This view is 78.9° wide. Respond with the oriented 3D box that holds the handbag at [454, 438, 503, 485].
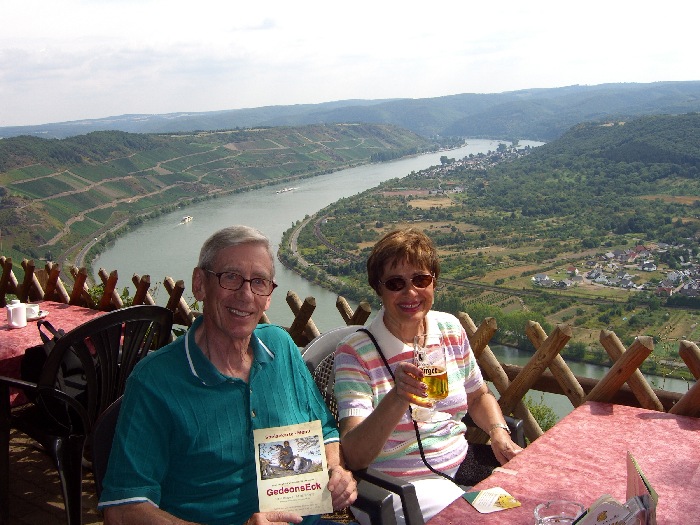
[{"bbox_3d":[0.504,0.781,1.667,0.128,0.053,0.207,37,65,24],"label":"handbag"}]
